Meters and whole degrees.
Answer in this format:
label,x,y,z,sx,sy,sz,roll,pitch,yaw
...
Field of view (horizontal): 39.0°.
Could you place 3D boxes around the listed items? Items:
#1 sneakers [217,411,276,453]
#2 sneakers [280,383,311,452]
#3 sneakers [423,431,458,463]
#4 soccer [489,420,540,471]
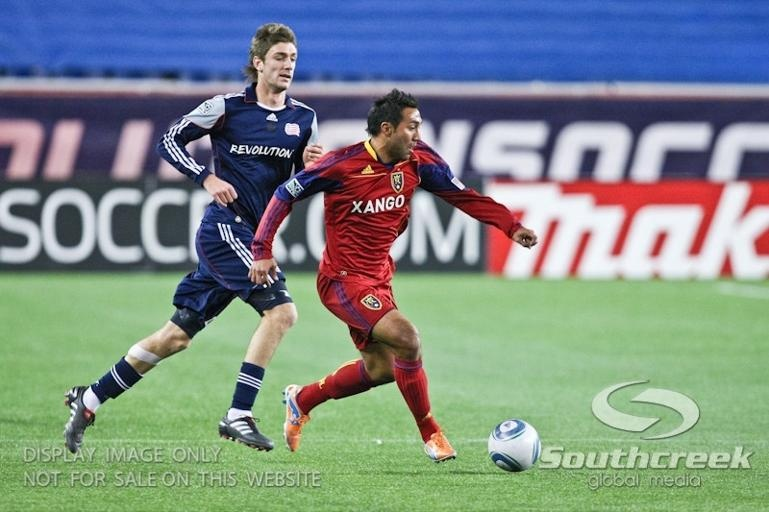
label,x,y,z,sx,sy,sz,roll,pitch,yaw
sneakers,-1.239,1.555,9.662,0.632,0.274,0.224,20,6,12
sneakers,-0.867,1.521,10.051,0.297,0.601,0.212,-8,-1,25
sneakers,0.501,1.731,9.701,0.290,0.279,0.178,3,3,3
soccer,1.135,1.694,9.539,0.439,0.459,0.186,3,3,4
